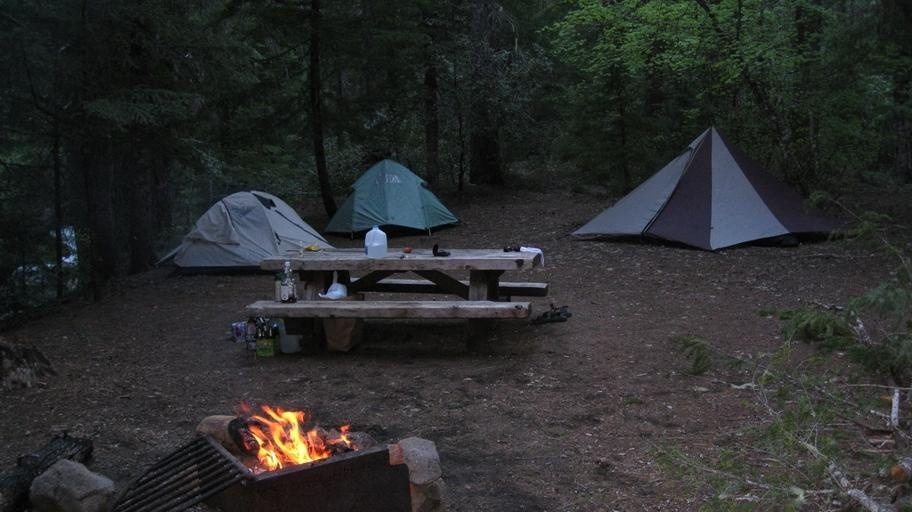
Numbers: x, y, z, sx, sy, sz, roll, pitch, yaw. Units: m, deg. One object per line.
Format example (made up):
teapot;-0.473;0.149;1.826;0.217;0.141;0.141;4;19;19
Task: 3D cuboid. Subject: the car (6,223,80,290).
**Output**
car;-11.623;0.260;22.638;1.926;0.831;1.906;24;23;23

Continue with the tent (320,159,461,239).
tent;-2.017;-1.667;23.907;2.935;1.502;2.689;2;8;13

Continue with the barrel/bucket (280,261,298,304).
barrel/bucket;-3.360;0.473;15.407;0.289;0.808;0.364;-4;10;-4
